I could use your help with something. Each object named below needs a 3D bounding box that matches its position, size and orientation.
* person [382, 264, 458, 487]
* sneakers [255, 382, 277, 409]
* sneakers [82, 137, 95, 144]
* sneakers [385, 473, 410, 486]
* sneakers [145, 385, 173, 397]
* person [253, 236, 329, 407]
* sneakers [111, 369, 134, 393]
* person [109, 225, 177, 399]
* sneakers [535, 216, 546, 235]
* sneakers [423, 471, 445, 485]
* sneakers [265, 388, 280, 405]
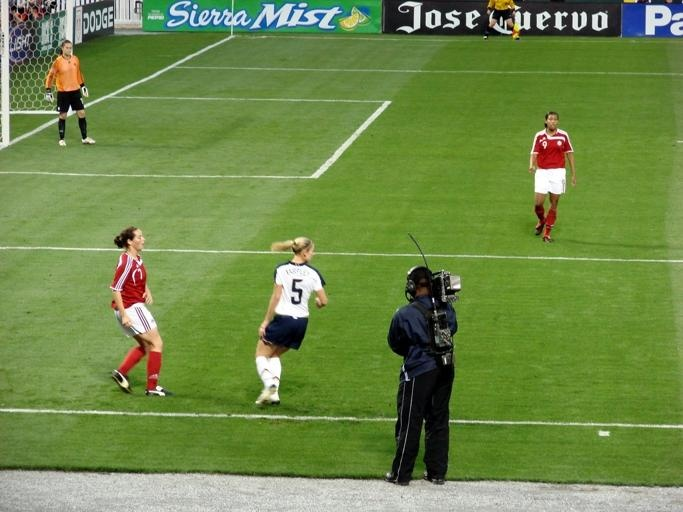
[{"bbox_3d":[1.045,1.561,18.588,0.954,2.891,0.564,-1,9,-2],"label":"person"},{"bbox_3d":[-1.086,1.995,20.201,0.207,0.177,0.415,5,-32,-19],"label":"sneakers"},{"bbox_3d":[-5.829,-2.698,32.136,0.273,0.095,0.150,2,8,30],"label":"sneakers"},{"bbox_3d":[0.722,2.966,18.643,0.327,0.120,0.128,9,5,11],"label":"sneakers"},{"bbox_3d":[-2.674,1.966,20.475,0.441,0.147,0.144,-1,1,-1],"label":"sneakers"},{"bbox_3d":[-0.761,0.928,20.073,1.022,2.445,0.351,-1,9,-4],"label":"person"},{"bbox_3d":[-3.187,1.812,20.468,0.178,0.451,0.181,-25,34,26],"label":"sneakers"},{"bbox_3d":[-2.957,0.803,20.243,0.761,2.479,0.493,-4,10,-19],"label":"person"},{"bbox_3d":[3.766,-0.596,26.633,0.121,0.313,0.140,25,3,36],"label":"sneakers"},{"bbox_3d":[1.230,2.947,18.672,0.126,0.115,0.289,-5,14,-30],"label":"sneakers"},{"bbox_3d":[-0.974,2.022,20.189,0.192,0.225,0.264,0,0,-3],"label":"sneakers"}]
